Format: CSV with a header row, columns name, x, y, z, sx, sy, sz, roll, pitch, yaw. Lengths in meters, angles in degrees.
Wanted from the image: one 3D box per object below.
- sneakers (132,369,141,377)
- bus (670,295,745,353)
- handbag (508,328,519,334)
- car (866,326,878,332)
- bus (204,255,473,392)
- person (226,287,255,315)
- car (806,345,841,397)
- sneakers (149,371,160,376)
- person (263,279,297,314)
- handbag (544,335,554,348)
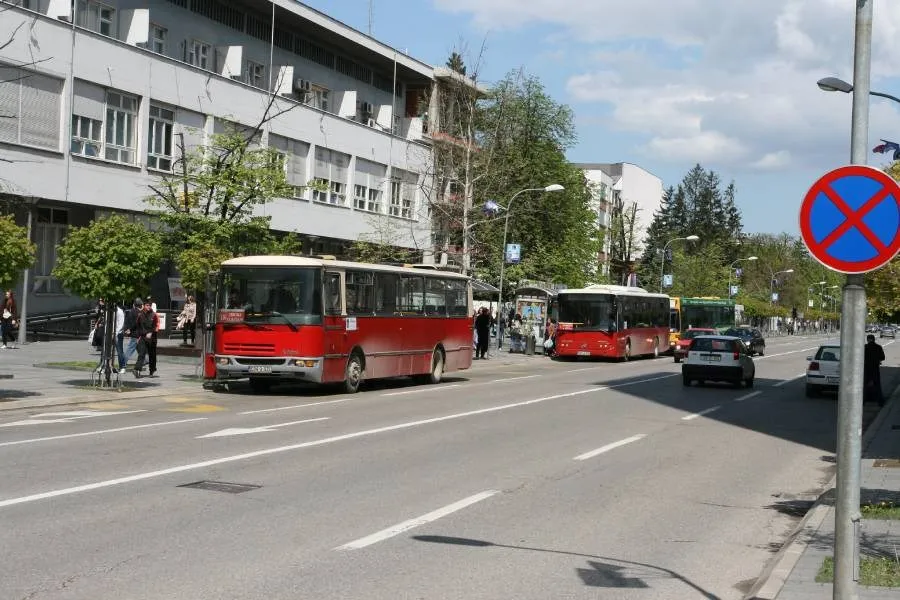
name,x,y,z,sx,sy,sz,roll,pitch,yaw
sneakers,-9.208,2.149,26.126,0.199,0.138,0.295,6,1,5
bus,17.230,1.112,62.360,8.327,3.924,3.196,4,-6,-40
handbag,3.637,1.768,49.449,0.498,0.455,0.366,2,1,-1
car,65.097,4.473,137.263,1.230,0.930,2.602,4,10,36
bus,-2.889,0.779,27.618,4.070,3.883,10.996,3,1,31
person,-5.474,0.029,23.541,0.651,0.676,1.190,3,-2,-2
car,11.530,2.236,27.531,0.884,1.274,2.262,3,1,22
sneakers,-8.829,2.220,26.527,0.102,0.232,0.316,3,5,33
person,-4.386,-0.058,23.094,1.003,0.813,0.219,2,2,19
handbag,5.338,2.261,48.081,0.455,0.895,0.574,5,14,1
